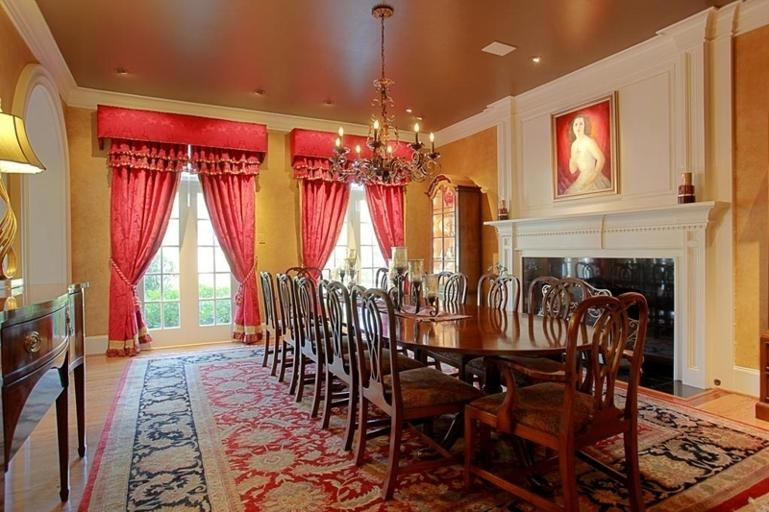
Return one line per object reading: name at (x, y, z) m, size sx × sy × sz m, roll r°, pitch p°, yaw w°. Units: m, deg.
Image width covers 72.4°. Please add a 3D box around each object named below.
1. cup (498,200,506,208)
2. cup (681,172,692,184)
cup at (1.732, -0.765, 7.699) m, size 0.106 × 0.117 × 0.104 m, roll -1°, pitch 1°, yaw 0°
cup at (3.275, -0.826, 5.680) m, size 0.125 × 0.142 × 0.127 m, roll -1°, pitch -2°, yaw 0°
